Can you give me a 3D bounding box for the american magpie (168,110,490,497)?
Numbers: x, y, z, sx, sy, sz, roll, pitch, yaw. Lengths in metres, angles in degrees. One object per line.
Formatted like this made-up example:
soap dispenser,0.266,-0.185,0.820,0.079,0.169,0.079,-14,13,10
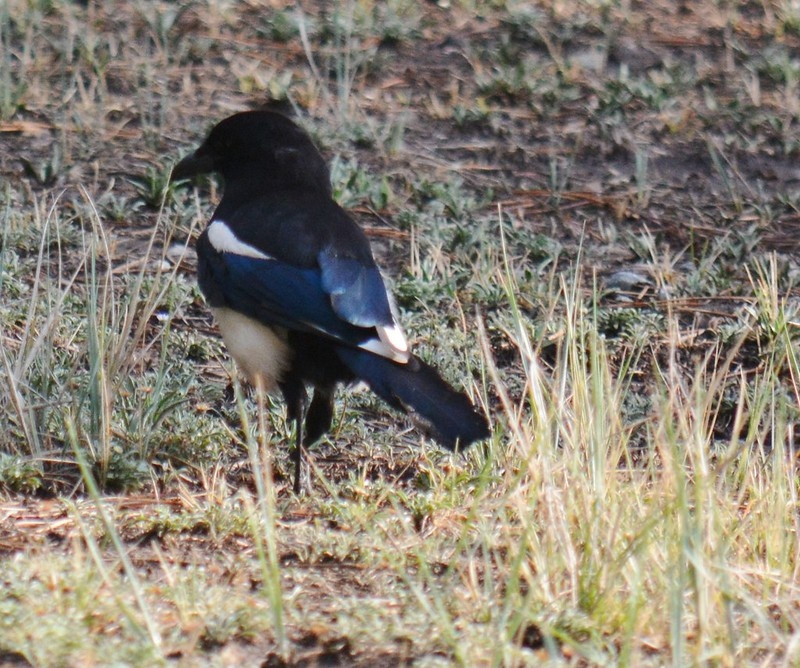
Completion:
american magpie,-0.296,-0.118,3.883,1.534,1.377,0.624,11,7,42
